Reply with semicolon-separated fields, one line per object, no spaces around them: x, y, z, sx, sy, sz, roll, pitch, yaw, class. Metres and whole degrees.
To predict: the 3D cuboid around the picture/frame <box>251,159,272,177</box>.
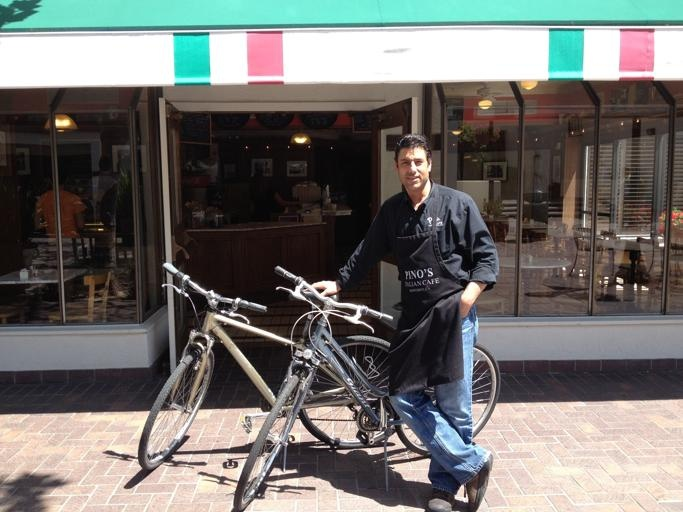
-2.110;-2.326;17.072;0.469;0.457;0.049;0;3;-9;picture/frame

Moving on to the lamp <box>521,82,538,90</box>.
2.102;-1.883;7.216;0.184;0.087;0.038;-3;6;-14;lamp

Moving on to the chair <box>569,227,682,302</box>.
3.346;0.040;7.819;0.955;0.650;0.985;0;12;0;chair

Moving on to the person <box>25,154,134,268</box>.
-2.721;-0.534;7.116;1.208;1.135;0.290;0;8;-3;person

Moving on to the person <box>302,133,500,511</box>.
0.665;0.514;5.046;1.074;2.871;0.487;-1;6;12;person

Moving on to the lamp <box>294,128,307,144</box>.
-1.000;-2.808;15.431;0.413;0.279;0.425;1;3;4;lamp

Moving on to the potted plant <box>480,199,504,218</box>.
1.688;-0.543;7.399;0.278;0.299;0.172;5;13;6;potted plant

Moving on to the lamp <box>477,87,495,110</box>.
1.596;-1.739;7.225;0.205;0.256;0.222;0;0;-8;lamp

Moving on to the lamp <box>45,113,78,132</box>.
-2.973;-1.420;6.928;0.210;0.100;0.215;1;3;1;lamp

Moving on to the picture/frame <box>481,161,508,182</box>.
1.721;-0.962;7.267;0.213;0.184;0.017;0;4;-1;picture/frame

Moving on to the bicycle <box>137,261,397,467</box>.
-0.622;0.974;5.686;2.414;1.592;1.340;-2;11;-16;bicycle
